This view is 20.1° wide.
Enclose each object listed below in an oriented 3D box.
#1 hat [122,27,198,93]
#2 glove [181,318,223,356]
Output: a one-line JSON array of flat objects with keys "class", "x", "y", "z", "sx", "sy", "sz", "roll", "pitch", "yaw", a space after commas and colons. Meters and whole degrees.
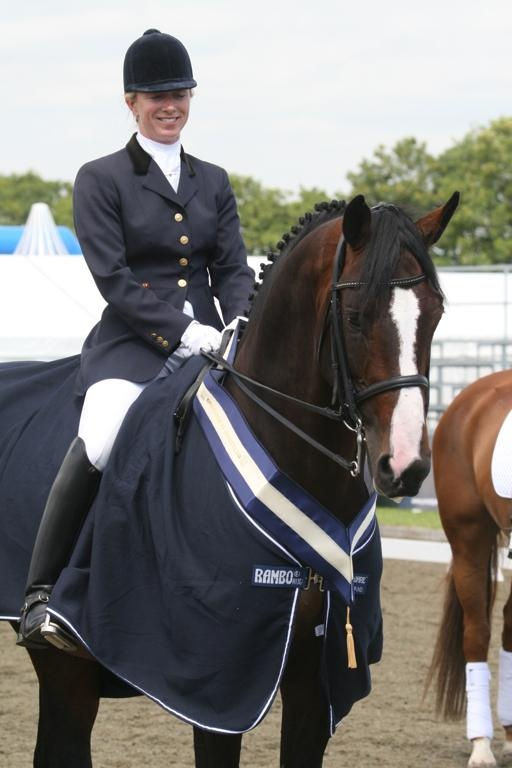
[{"class": "hat", "x": -0.302, "y": -0.992, "z": 4.425, "sx": 0.232, "sy": 0.187, "sz": 0.297, "roll": -10, "pitch": 16, "yaw": -38}, {"class": "glove", "x": -0.164, "y": -0.128, "z": 4.244, "sx": 0.107, "sy": 0.107, "sz": 0.046, "roll": 45, "pitch": 6, "yaw": 21}]
